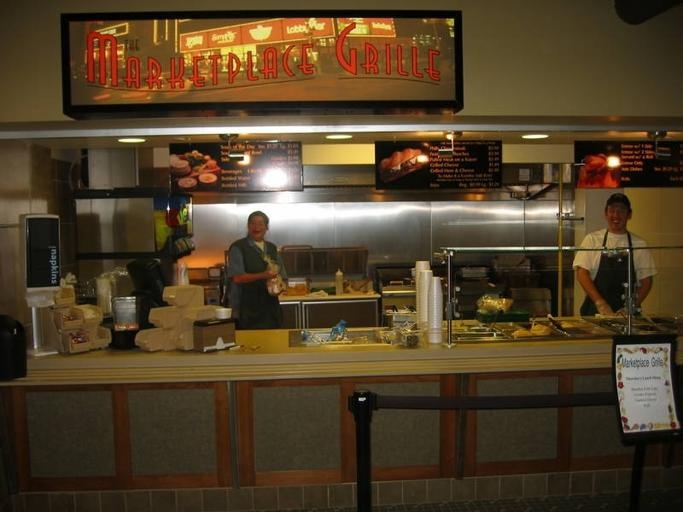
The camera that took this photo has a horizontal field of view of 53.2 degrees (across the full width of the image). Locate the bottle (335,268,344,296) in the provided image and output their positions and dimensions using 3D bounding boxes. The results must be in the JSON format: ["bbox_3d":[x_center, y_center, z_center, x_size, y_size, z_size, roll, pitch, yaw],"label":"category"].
[{"bbox_3d":[-0.029,0.308,7.997,0.100,0.240,0.252,-3,13,-1],"label":"bottle"}]

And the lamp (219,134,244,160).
[{"bbox_3d":[-0.939,-0.934,5.834,0.191,0.234,0.490,-5,13,-9],"label":"lamp"}]

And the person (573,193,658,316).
[{"bbox_3d":[2.534,-0.162,6.446,0.604,0.902,2.827,2,13,19],"label":"person"}]

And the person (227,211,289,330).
[{"bbox_3d":[-0.870,0.179,7.118,0.639,1.224,0.658,-8,15,-18],"label":"person"}]

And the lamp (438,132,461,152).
[{"bbox_3d":[0.947,-0.985,5.941,0.182,0.208,0.612,-1,12,7],"label":"lamp"}]

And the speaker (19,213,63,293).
[{"bbox_3d":[-2.134,-0.035,4.844,0.262,0.531,0.147,-9,15,-21],"label":"speaker"}]
